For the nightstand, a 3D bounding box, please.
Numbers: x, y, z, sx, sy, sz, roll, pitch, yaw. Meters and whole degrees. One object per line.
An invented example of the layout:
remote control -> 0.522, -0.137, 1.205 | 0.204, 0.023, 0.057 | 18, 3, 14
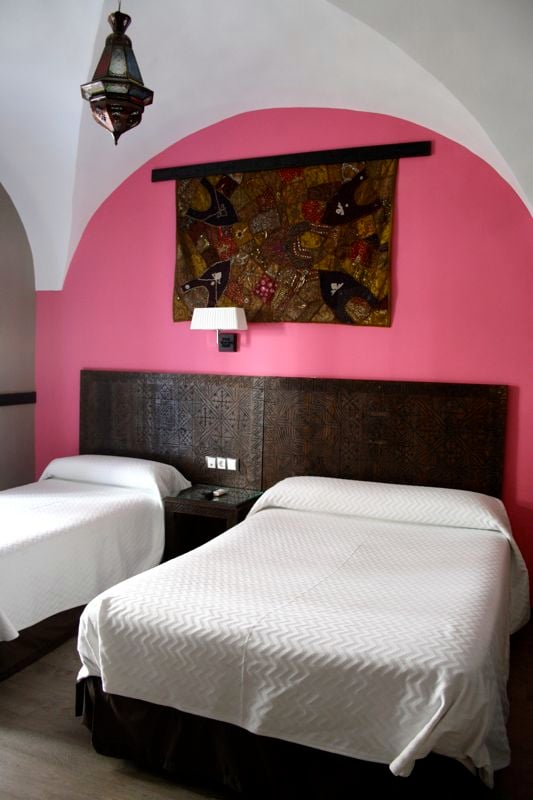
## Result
nightstand -> -0.303, 0.674, 3.598 | 0.497, 0.526, 0.429 | 5, 11, 31

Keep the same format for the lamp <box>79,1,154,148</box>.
lamp -> -0.459, -1.000, 1.853 | 0.202, 0.396, 0.271 | -5, 6, -14

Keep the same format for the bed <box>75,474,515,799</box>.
bed -> 0.302, 0.859, 2.465 | 1.376, 0.690, 1.761 | 0, 7, 29

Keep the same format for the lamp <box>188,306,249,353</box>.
lamp -> -0.290, -0.437, 3.743 | 0.369, 0.330, 0.253 | 1, 0, 16
